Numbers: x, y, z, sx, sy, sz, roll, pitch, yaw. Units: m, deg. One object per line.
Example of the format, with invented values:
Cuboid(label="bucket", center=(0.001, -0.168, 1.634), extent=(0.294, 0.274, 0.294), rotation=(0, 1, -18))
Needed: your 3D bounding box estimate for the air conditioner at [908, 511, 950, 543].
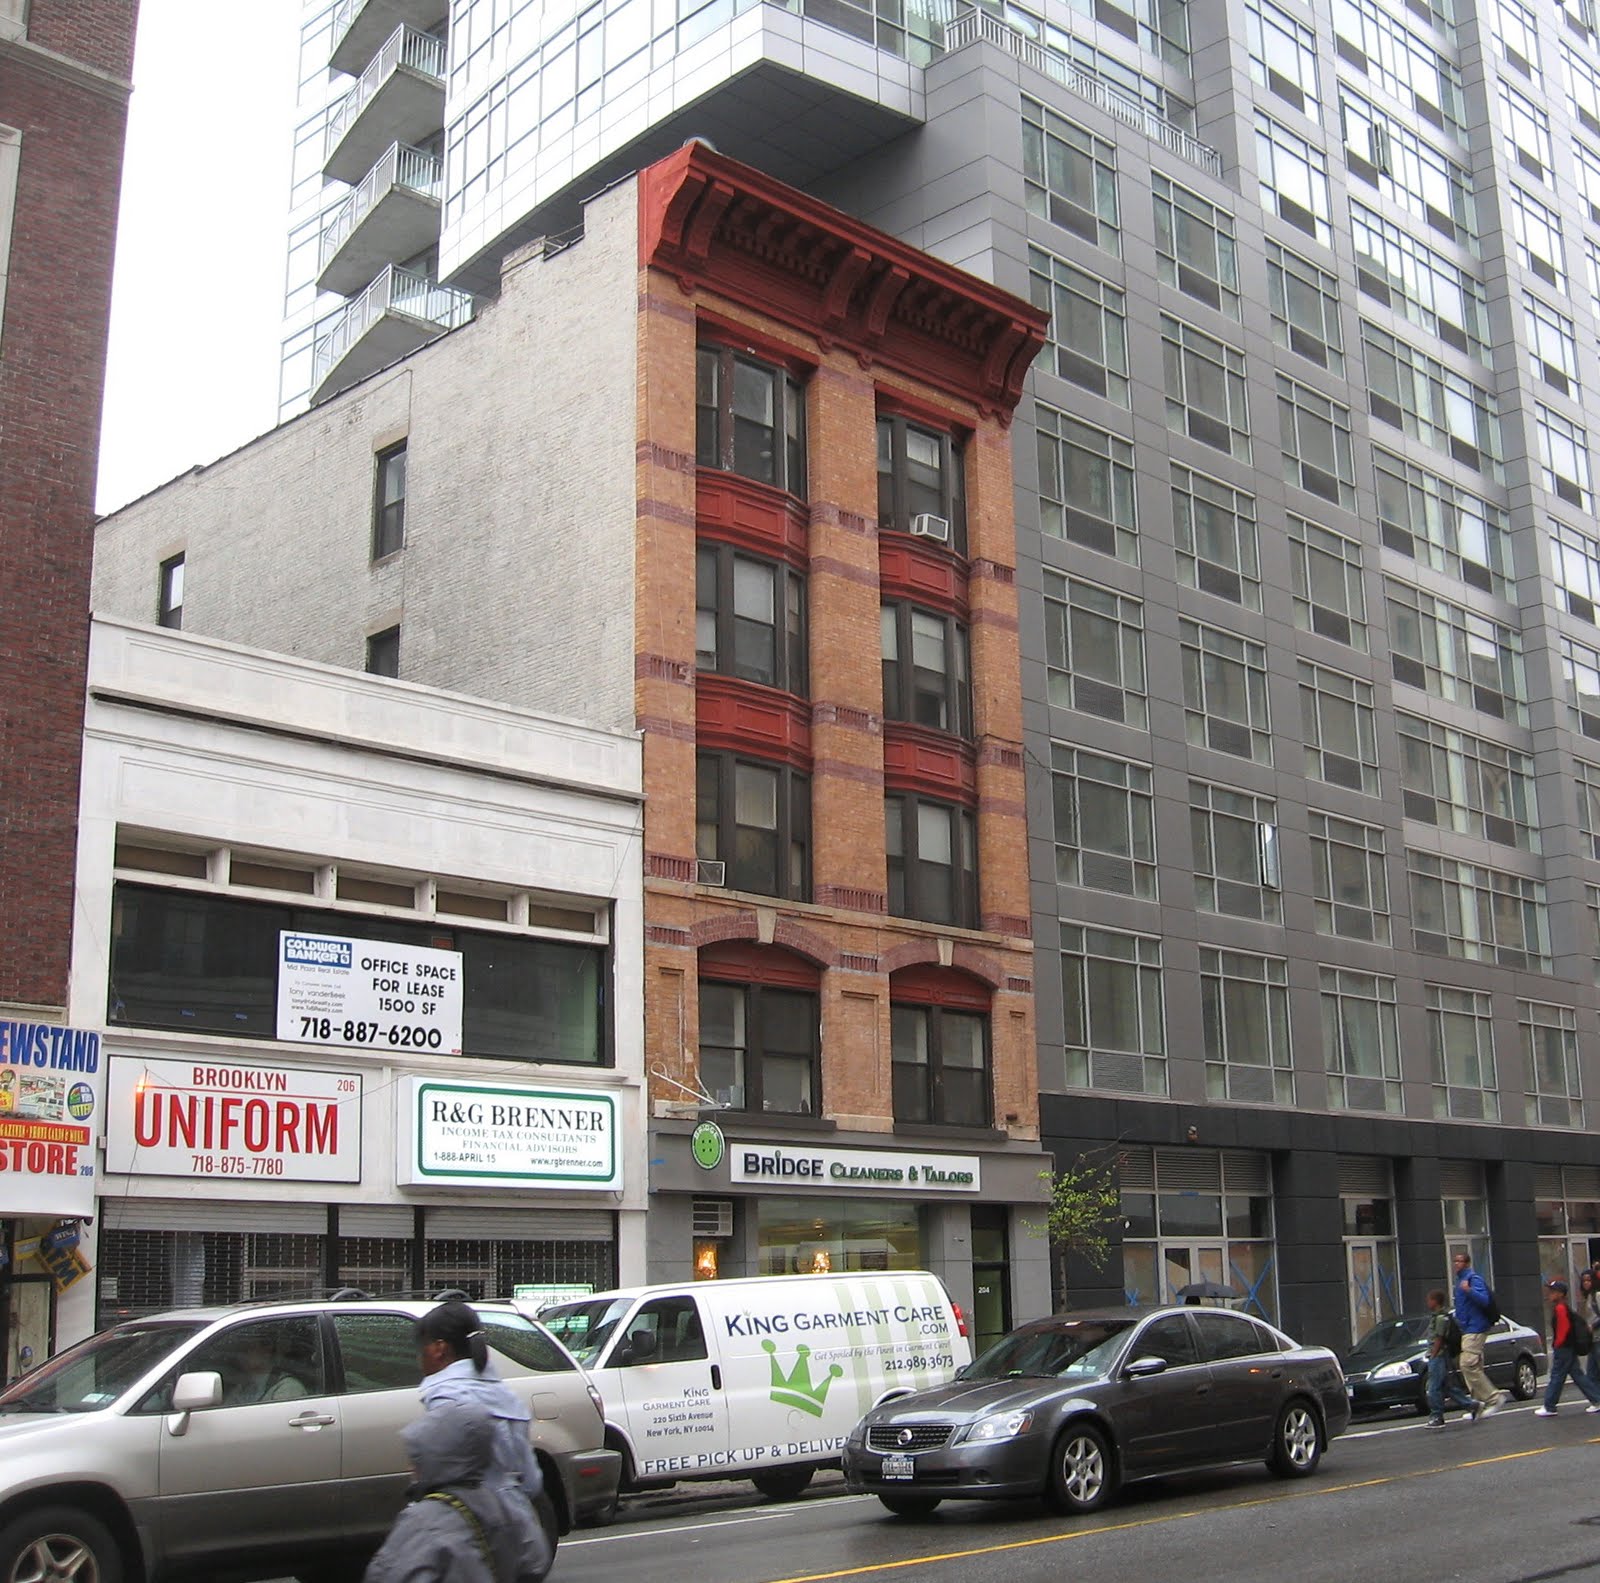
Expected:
Cuboid(label="air conditioner", center=(2.242, -4.589, 31.522), extent=(0.504, 0.539, 0.880), rotation=(-11, -14, 39))

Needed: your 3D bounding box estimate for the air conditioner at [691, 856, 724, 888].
Cuboid(label="air conditioner", center=(-1.347, 1.235, 27.112), extent=(0.373, 0.523, 0.552), rotation=(-13, -16, 43))
